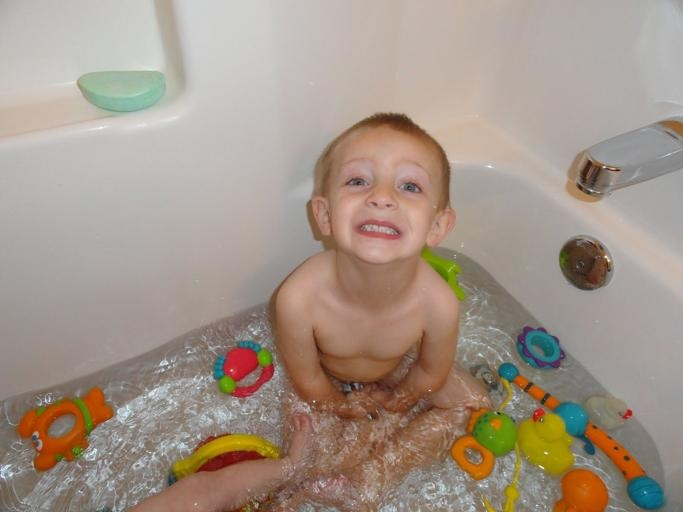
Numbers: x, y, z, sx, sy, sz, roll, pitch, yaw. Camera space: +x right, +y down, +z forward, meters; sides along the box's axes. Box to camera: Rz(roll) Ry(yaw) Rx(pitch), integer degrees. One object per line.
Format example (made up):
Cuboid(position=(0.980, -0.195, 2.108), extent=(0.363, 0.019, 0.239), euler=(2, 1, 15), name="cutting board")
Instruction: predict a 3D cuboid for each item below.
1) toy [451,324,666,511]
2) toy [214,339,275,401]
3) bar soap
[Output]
Cuboid(position=(0.499, 0.376, 1.311), extent=(0.382, 0.313, 0.343), euler=(5, 38, 6), name="toy")
Cuboid(position=(-0.253, 0.315, 1.404), extent=(0.113, 0.142, 0.128), euler=(24, 45, 23), name="toy")
Cuboid(position=(-0.516, -0.385, 1.247), extent=(0.205, 0.053, 0.128), euler=(8, 50, 4), name="bar soap")
